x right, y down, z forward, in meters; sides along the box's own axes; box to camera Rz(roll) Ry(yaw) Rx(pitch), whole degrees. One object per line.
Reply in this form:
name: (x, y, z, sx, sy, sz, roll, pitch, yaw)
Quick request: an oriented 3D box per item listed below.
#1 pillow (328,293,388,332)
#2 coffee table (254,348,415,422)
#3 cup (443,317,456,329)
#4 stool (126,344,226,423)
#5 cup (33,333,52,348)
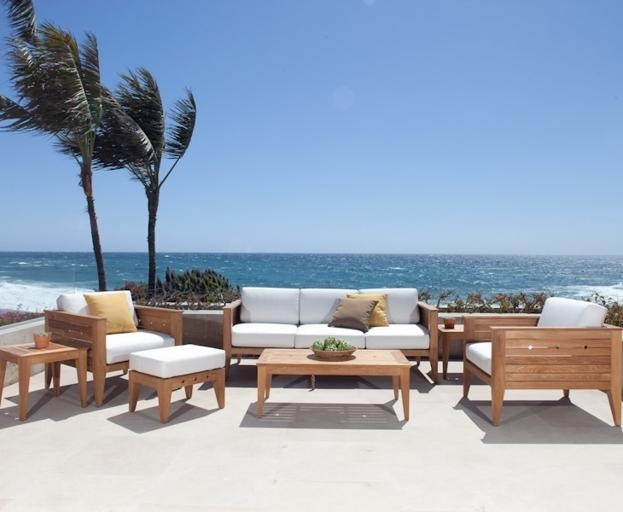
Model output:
pillow: (0.538, 0.612, 5.231, 0.612, 0.328, 0.546, 3, 8, 18)
coffee table: (0.201, 1.113, 4.340, 1.340, 0.513, 0.924, 1, 8, 5)
cup: (1.513, 0.736, 5.113, 0.123, 0.085, 0.109, 0, -3, -11)
stool: (-1.186, 0.972, 4.102, 0.573, 0.541, 0.798, -3, -4, 38)
cup: (-2.350, 0.746, 4.100, 0.153, 0.104, 0.120, 9, -11, -38)
